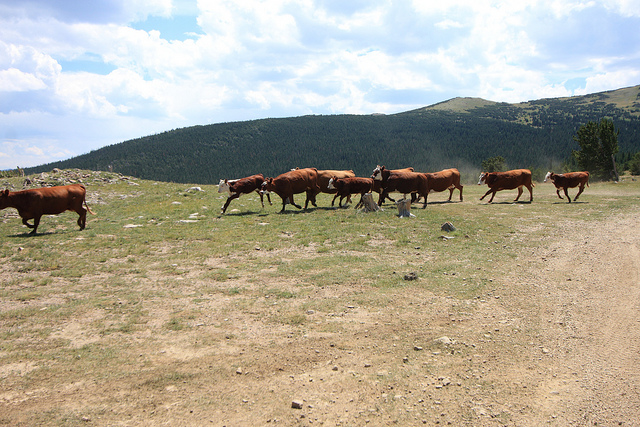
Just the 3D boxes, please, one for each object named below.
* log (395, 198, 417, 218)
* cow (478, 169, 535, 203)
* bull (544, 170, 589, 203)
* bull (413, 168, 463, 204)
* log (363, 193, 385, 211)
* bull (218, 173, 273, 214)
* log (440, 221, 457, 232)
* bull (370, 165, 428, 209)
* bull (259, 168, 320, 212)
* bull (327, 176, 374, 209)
[{"bbox_3d":[4.883,-0.308,27.820,1.024,0.945,0.931,-7,7,14],"label":"log"},{"bbox_3d":[13.008,-1.972,34.354,4.198,2.200,1.088,-1,7,-5],"label":"cow"},{"bbox_3d":[17.528,-1.930,34.760,3.207,2.044,0.812,-2,2,-1],"label":"bull"},{"bbox_3d":[8.344,-2.196,35.435,5.825,2.812,1.691,-3,4,-37],"label":"bull"},{"bbox_3d":[3.228,-0.690,29.617,1.146,0.980,0.827,-2,5,-20],"label":"log"},{"bbox_3d":[-4.873,-1.366,31.592,3.597,1.965,0.976,-12,13,-33],"label":"bull"},{"bbox_3d":[6.408,0.666,24.328,0.756,0.420,0.591,1,5,11],"label":"log"},{"bbox_3d":[4.978,-1.664,31.184,4.087,2.416,1.099,6,6,-18],"label":"bull"},{"bbox_3d":[-1.804,-1.401,31.011,4.625,2.423,1.240,-10,9,-32],"label":"bull"},{"bbox_3d":[1.955,-1.365,31.377,3.698,1.851,1.423,2,-11,-2],"label":"bull"}]
